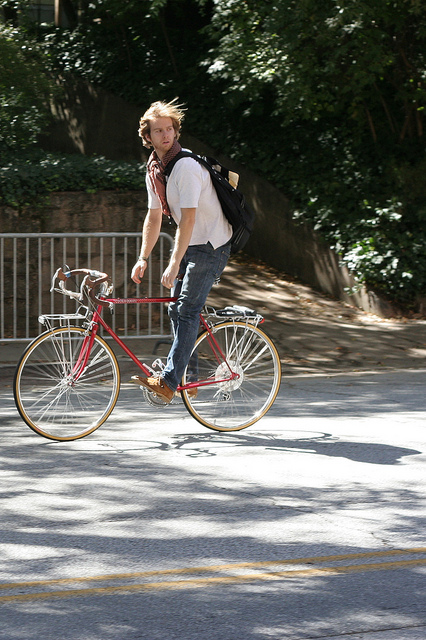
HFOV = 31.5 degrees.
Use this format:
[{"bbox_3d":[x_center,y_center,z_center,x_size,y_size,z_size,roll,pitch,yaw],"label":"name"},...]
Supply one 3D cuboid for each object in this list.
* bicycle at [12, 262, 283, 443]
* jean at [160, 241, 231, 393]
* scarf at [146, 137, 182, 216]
[{"bbox_3d":[-0.449,0.264,5.649,2.312,1.117,0.528,0,4,-35],"label":"bicycle"},{"bbox_3d":[-0.147,-0.031,5.343,0.289,1.059,0.422,11,11,27],"label":"jean"},{"bbox_3d":[-0.322,-0.983,5.174,0.244,0.508,0.213,2,16,10],"label":"scarf"}]
